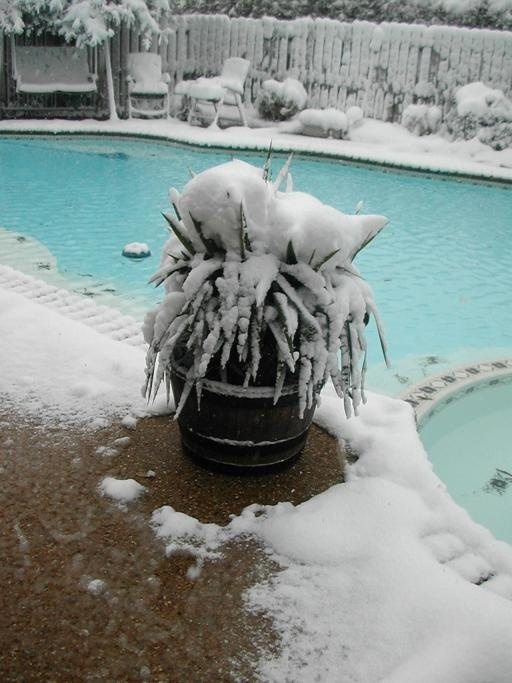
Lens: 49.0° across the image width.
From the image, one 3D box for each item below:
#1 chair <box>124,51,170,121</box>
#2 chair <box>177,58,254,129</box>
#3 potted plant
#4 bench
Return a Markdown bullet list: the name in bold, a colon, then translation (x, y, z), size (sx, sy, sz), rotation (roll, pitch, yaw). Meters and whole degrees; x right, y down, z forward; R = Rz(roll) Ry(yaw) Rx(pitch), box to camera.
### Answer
- **chair**: translation (-2.176, -4.905, 11.275), size (0.833, 1.031, 1.008), rotation (1, 2, -16)
- **chair**: translation (-0.705, -4.673, 10.485), size (0.956, 1.054, 1.080), rotation (23, 36, 24)
- **potted plant**: translation (-0.028, 0.028, 1.785), size (0.685, 0.653, 0.637), rotation (7, 8, 17)
- **bench**: translation (-3.768, -5.050, 10.429), size (1.449, 0.949, 0.996), rotation (-2, 21, -21)
